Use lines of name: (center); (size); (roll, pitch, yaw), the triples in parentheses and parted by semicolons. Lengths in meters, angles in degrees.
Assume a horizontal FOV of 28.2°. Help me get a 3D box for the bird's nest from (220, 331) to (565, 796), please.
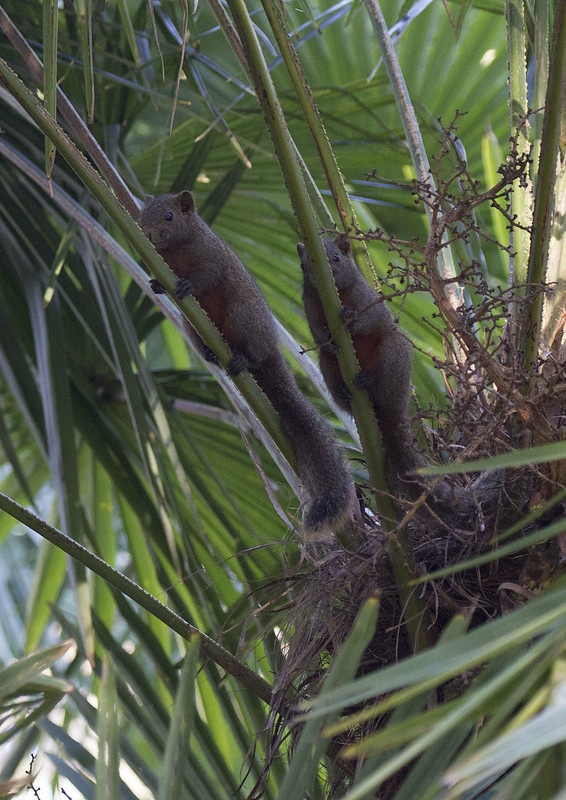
bird's nest: (0.097, 0.400, 2.408); (0.846, 0.360, 0.814); (-9, -27, -42)
